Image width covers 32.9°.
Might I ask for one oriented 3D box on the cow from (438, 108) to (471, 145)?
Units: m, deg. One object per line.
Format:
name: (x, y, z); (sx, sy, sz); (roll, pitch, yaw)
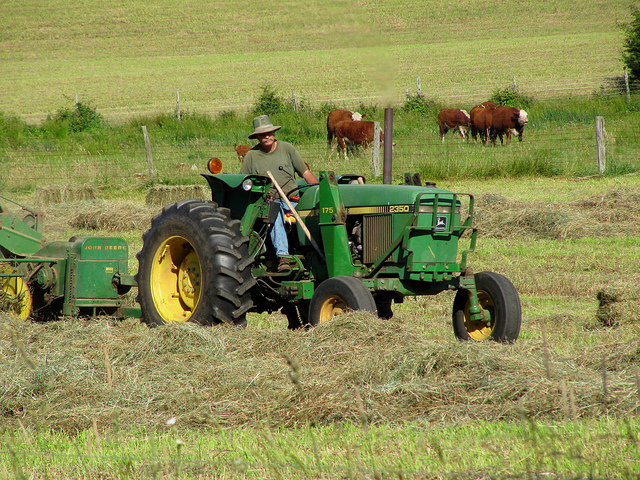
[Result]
cow: (3.906, -3.231, 30.934); (0.459, 0.947, 1.696); (-5, 8, -32)

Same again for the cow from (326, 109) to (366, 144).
cow: (0.481, -3.064, 29.312); (0.348, 0.878, 1.132); (11, 20, 42)

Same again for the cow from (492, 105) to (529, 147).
cow: (5.265, -3.155, 30.235); (0.663, 1.148, 2.080); (-2, 8, -15)

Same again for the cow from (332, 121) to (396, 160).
cow: (1.217, -2.666, 28.686); (1.752, 1.036, 0.536); (4, 18, 19)

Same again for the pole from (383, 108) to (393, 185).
pole: (0.983, -1.337, 15.677); (0.114, 1.205, 0.117); (2, -18, 2)
